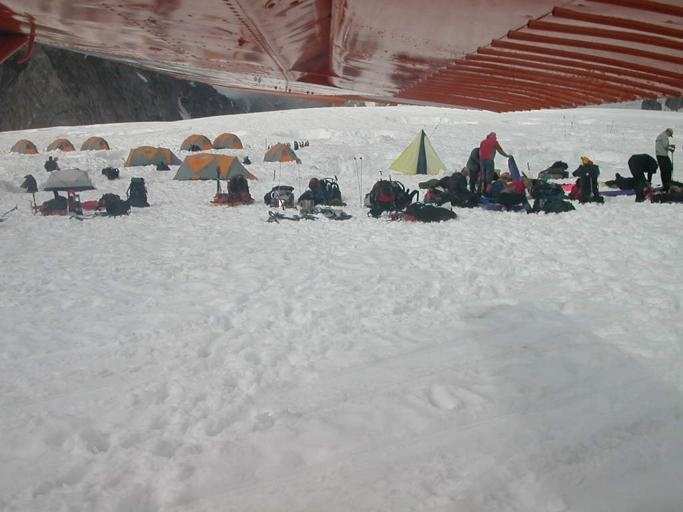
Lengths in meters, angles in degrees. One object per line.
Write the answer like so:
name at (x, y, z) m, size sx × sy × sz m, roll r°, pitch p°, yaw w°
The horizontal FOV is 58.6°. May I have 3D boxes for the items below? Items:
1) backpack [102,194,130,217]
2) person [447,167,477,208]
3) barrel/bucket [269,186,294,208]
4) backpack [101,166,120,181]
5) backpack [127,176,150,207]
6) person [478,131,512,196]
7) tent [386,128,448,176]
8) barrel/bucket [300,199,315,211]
backpack at (-4.606, -1.042, 12.389) m, size 0.463 × 0.398 × 0.413 m, roll -7°, pitch 17°, yaw -13°
person at (2.474, -1.505, 12.632) m, size 0.621 × 1.162 × 0.322 m, roll 32°, pitch -42°, yaw -26°
barrel/bucket at (-1.258, -1.275, 13.191) m, size 0.420 × 0.531 × 0.220 m, roll 5°, pitch -4°, yaw 5°
backpack at (-6.348, -2.253, 16.664) m, size 0.845 × 0.427 × 0.263 m, roll 3°, pitch 8°, yaw 38°
backpack at (-4.415, -1.345, 13.129) m, size 0.413 × 0.576 × 0.693 m, roll -9°, pitch 17°, yaw -18°
person at (3.131, -1.901, 12.578) m, size 0.641 × 1.356 × 0.515 m, roll 6°, pitch -5°, yaw 44°
tent at (2.156, -3.115, 16.170) m, size 1.841 × 1.680 × 1.317 m, roll 0°, pitch -14°, yaw 8°
barrel/bucket at (-0.699, -1.040, 12.494) m, size 0.227 × 0.172 × 0.230 m, roll -1°, pitch 6°, yaw 0°
